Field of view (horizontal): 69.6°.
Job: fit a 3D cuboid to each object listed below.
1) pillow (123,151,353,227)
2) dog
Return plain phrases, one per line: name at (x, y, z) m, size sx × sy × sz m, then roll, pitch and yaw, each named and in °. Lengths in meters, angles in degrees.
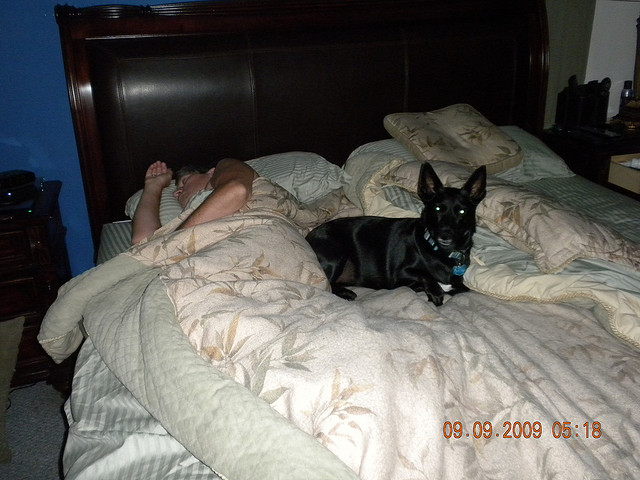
pillow at (-0.382, -0.421, 2.710) m, size 1.064 × 0.236 × 0.597 m, roll -11°, pitch 39°, yaw -10°
dog at (0.389, -0.062, 2.504) m, size 0.670 × 0.679 × 0.992 m, roll -15°, pitch 19°, yaw -43°
